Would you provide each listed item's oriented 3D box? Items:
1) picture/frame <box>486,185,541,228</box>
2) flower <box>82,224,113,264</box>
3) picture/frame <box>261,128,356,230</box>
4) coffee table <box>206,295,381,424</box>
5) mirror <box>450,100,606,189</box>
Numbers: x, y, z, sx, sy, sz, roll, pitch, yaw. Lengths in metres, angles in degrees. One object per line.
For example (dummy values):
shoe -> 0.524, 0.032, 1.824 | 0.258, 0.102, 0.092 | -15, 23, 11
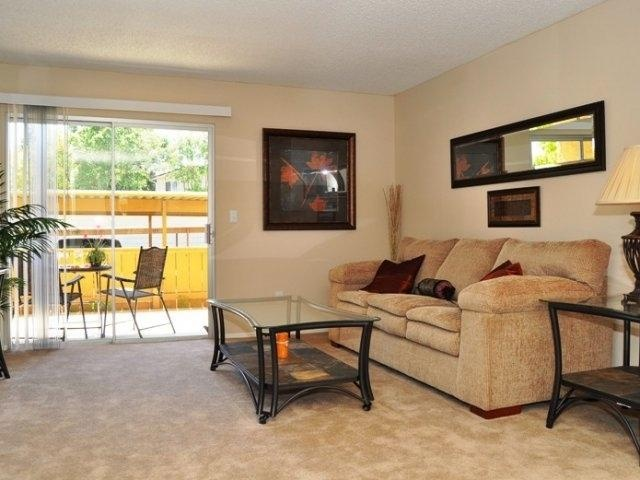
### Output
picture/frame -> 1.904, -0.331, 4.745 | 0.027, 0.306, 0.480 | 0, 0, -26
flower -> -2.481, 0.123, 5.562 | 0.311, 0.286, 0.282 | 1, 0, 6
picture/frame -> -0.132, -0.767, 6.201 | 1.258, 1.250, 0.128 | -2, 6, -19
coffee table -> -0.162, 0.886, 3.840 | 0.888, 0.534, 1.308 | 2, -2, -25
mirror -> 1.946, -0.860, 4.660 | 1.783, 0.545, 0.083 | -13, 15, -16
